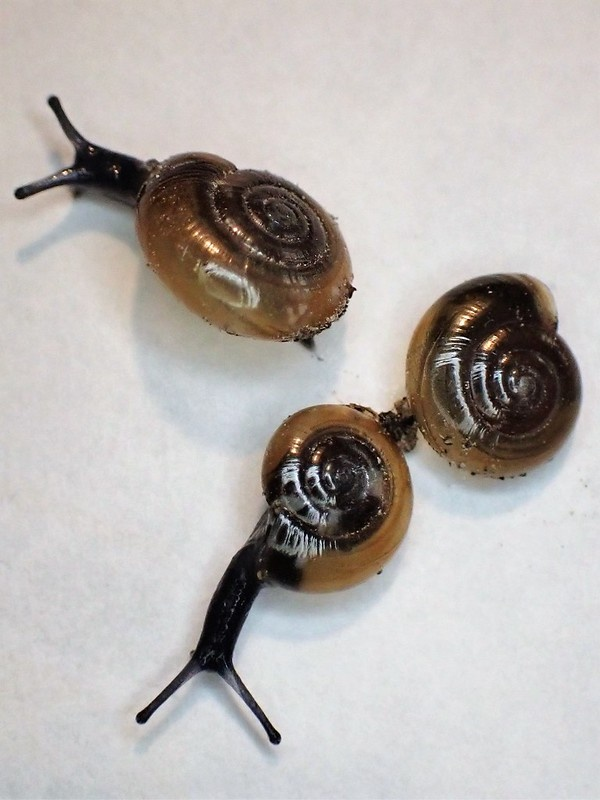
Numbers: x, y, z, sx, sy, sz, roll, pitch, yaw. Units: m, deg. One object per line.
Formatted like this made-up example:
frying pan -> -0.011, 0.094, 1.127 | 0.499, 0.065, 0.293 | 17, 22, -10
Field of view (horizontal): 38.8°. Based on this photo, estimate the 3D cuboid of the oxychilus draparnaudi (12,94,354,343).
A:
oxychilus draparnaudi -> -0.193, -0.477, 2.181 | 0.894, 0.459, 0.801 | -8, 31, -9
